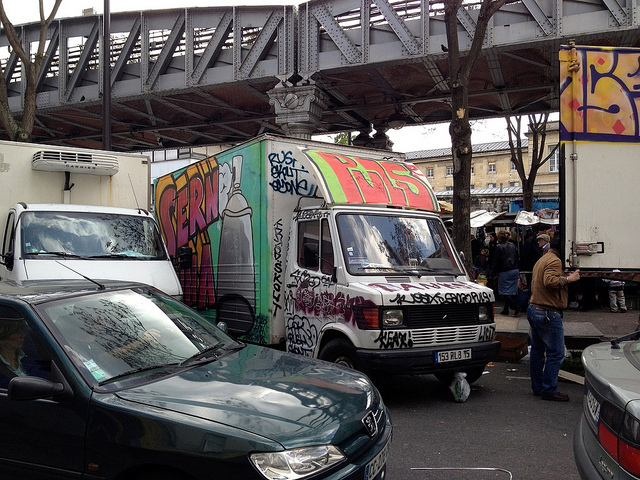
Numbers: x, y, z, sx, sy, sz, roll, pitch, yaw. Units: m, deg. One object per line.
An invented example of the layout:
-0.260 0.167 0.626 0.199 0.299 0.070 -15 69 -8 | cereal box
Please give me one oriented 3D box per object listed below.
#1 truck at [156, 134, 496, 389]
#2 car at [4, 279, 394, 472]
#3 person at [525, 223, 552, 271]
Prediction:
-0.242 0.237 10.539 2.807 3.687 6.232 -3 -2 -34 | truck
-1.125 1.186 5.175 2.828 1.255 1.825 -4 -3 20 | car
5.490 0.186 15.733 0.774 1.236 0.821 -3 4 4 | person
